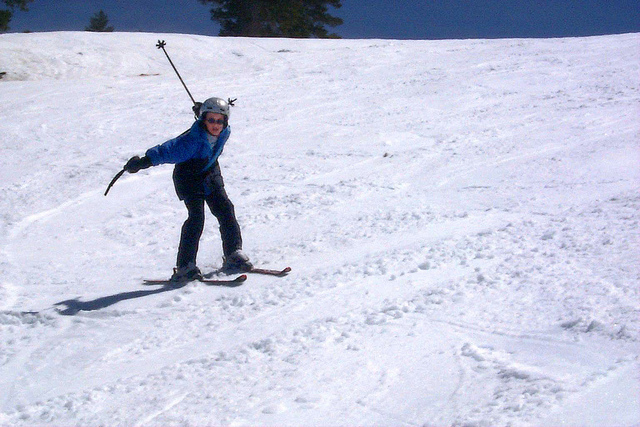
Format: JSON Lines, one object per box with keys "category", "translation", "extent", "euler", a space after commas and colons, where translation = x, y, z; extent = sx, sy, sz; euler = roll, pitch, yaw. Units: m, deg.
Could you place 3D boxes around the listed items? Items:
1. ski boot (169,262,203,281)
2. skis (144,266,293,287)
{"category": "ski boot", "translation": [-2.405, 1.028, 14.692], "extent": [0.532, 0.144, 0.340], "euler": [0, 3, 2]}
{"category": "skis", "translation": [-1.737, 1.119, 14.791], "extent": [2.428, 0.199, 0.231], "euler": [-2, 54, -1]}
